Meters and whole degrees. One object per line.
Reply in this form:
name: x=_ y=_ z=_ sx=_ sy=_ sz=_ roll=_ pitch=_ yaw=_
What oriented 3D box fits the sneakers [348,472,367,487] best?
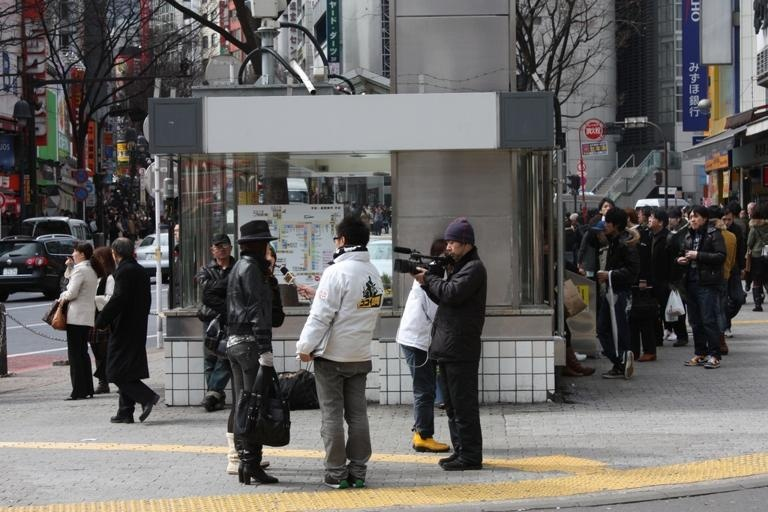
sneakers: x=-0.353 y=2.778 z=13.626 sx=0.196 sy=0.210 sz=0.499 roll=1 pitch=-1 yaw=-2

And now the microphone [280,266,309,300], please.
microphone: x=-1.357 y=0.414 z=16.395 sx=0.641 sy=0.214 sz=0.167 roll=38 pitch=-4 yaw=-33

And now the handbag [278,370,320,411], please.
handbag: x=-1.322 y=1.973 z=16.211 sx=0.764 sy=0.803 sz=0.522 roll=0 pitch=-6 yaw=5

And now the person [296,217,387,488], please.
person: x=-0.499 y=1.198 z=13.680 sx=0.790 sy=3.290 sz=0.970 roll=8 pitch=14 yaw=40

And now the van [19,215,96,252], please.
van: x=-9.500 y=-0.647 z=31.418 sx=1.138 sy=0.952 sz=1.802 roll=1 pitch=5 yaw=13

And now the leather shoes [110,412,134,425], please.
leather shoes: x=-3.879 y=2.408 z=16.237 sx=0.342 sy=0.227 sz=0.147 roll=4 pitch=-1 yaw=13

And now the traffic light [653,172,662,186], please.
traffic light: x=12.489 y=-3.539 z=49.712 sx=0.368 sy=0.728 sz=1.530 roll=1 pitch=11 yaw=12

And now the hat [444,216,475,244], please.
hat: x=0.997 y=-0.359 z=14.163 sx=0.355 sy=0.295 sz=0.344 roll=8 pitch=0 yaw=-24

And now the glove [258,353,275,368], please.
glove: x=-1.467 y=1.279 z=13.608 sx=0.163 sy=0.230 sz=0.139 roll=-5 pitch=11 yaw=-18

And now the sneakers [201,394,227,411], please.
sneakers: x=-2.601 y=2.226 z=16.608 sx=0.155 sy=0.196 sz=0.416 roll=-1 pitch=-19 yaw=11

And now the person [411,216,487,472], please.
person: x=0.937 y=1.139 z=14.080 sx=0.690 sy=3.171 sz=0.769 roll=-11 pitch=14 yaw=-42

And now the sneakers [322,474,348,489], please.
sneakers: x=-0.611 y=2.803 z=13.597 sx=0.295 sy=0.131 sz=0.126 roll=6 pitch=5 yaw=38

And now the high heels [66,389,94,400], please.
high heels: x=-4.883 y=2.223 z=17.546 sx=0.466 sy=0.190 sz=0.154 roll=2 pitch=-4 yaw=-13
